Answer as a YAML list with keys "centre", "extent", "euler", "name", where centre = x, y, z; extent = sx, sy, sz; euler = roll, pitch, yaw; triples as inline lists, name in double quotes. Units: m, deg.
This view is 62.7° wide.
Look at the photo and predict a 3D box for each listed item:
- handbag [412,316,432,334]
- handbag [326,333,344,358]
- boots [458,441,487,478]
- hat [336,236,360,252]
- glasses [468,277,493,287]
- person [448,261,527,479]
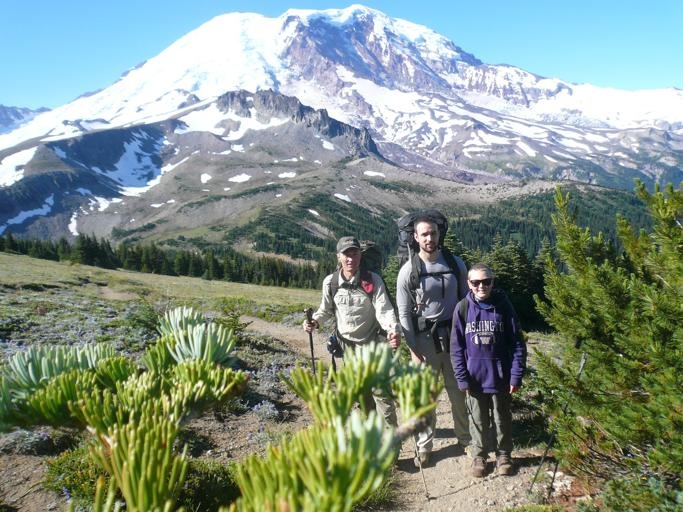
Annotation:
- centre: [1.243, 1.063, 8.639]
  extent: [0.199, 0.200, 0.267]
  euler: [0, -9, 9]
  name: "handbag"
- centre: [-0.106, 1.415, 8.764]
  extent: [0.313, 0.342, 0.249]
  euler: [5, -18, -2]
  name: "handbag"
- centre: [2.021, 3.134, 8.603]
  extent: [0.245, 0.289, 0.730]
  euler: [-3, -27, 6]
  name: "boots"
- centre: [0.069, -0.157, 8.389]
  extent: [0.395, 0.256, 0.316]
  euler: [1, 4, 26]
  name: "hat"
- centre: [2.037, 0.389, 8.199]
  extent: [0.306, 0.130, 0.153]
  euler: [0, 3, 14]
  name: "glasses"
- centre: [2.186, 1.720, 8.392]
  extent: [1.058, 3.174, 0.514]
  euler: [1, 4, 18]
  name: "person"
